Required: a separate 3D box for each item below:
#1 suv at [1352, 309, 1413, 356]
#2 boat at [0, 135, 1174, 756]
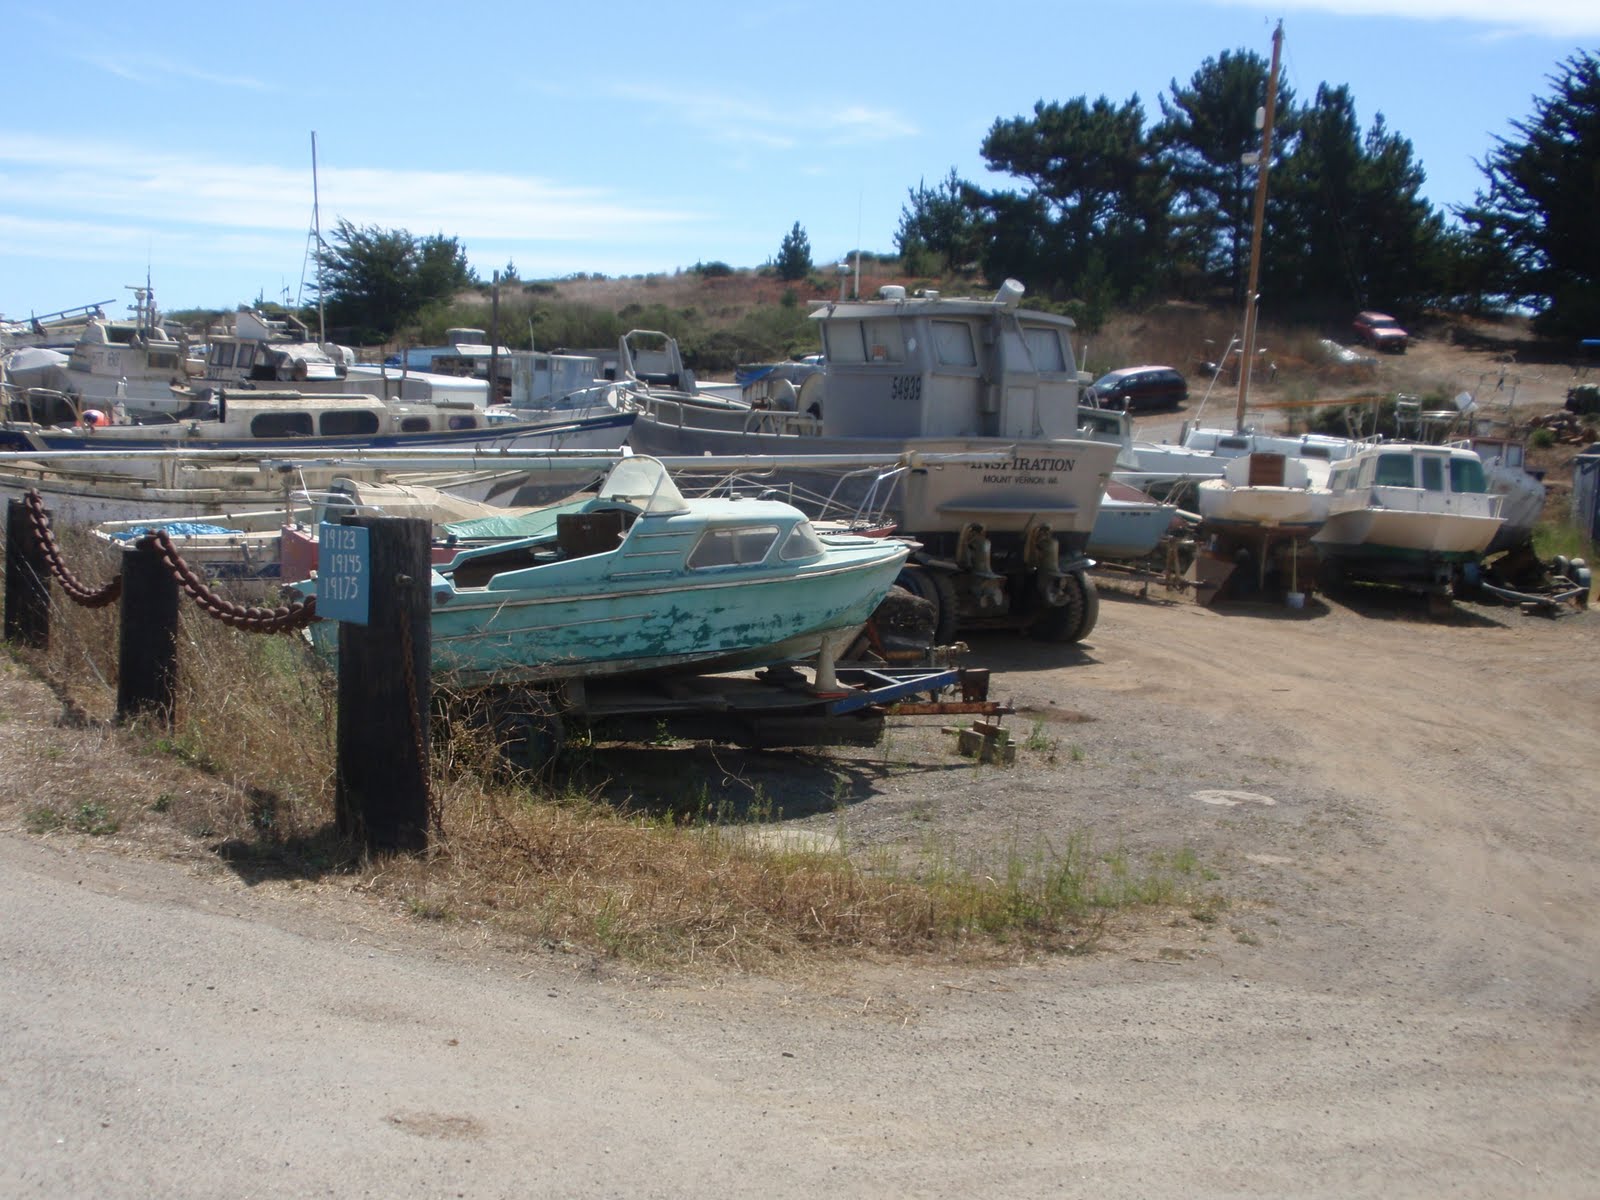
[{"bbox_3d":[18.097,-8.317,54.357,1.151,0.871,2.133,-8,23,-1],"label":"suv"},{"bbox_3d":[-1.596,-1.244,20.523,4.173,5.103,12.150,-2,3,-44],"label":"boat"}]
